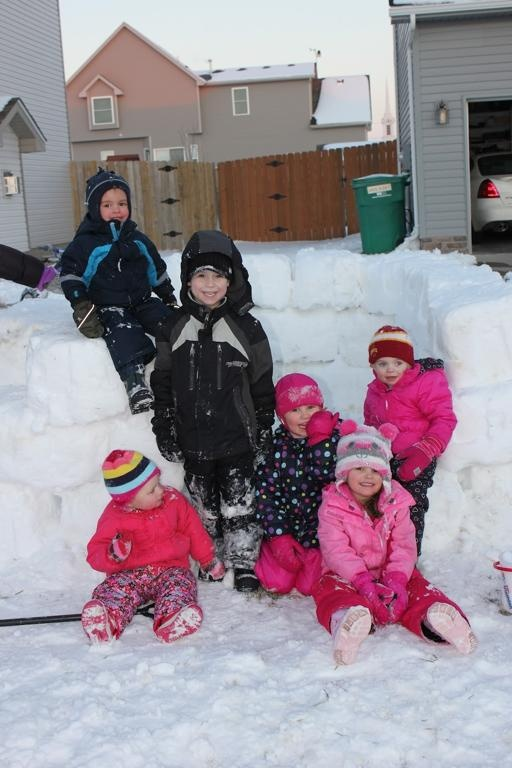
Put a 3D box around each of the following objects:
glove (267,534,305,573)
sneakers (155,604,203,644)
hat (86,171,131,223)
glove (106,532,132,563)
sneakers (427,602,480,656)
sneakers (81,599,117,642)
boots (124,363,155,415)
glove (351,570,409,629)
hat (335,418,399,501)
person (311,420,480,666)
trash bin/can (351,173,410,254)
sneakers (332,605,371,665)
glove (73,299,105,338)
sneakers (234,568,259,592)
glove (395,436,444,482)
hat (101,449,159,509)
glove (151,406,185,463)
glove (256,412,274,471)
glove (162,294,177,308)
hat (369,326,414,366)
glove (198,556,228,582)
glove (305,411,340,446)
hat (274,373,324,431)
[{"bbox_3d":[0.128,0.694,2.674,0.143,0.150,0.140,-2,3,-5],"label":"glove"},{"bbox_3d":[-0.262,0.809,2.207,0.134,0.098,0.043,-27,3,-20],"label":"sneakers"},{"bbox_3d":[-0.776,-0.929,3.201,0.208,0.279,0.256,-7,14,-30],"label":"hat"},{"bbox_3d":[-0.512,0.610,2.504,0.083,0.107,0.084,31,-7,3],"label":"glove"},{"bbox_3d":[0.630,0.743,2.033,0.103,0.078,0.186,-28,20,51],"label":"sneakers"},{"bbox_3d":[-0.541,0.809,2.212,0.107,0.123,0.106,-1,3,20],"label":"sneakers"},{"bbox_3d":[-0.518,0.014,2.858,0.085,0.171,0.234,-19,51,1],"label":"boots"},{"bbox_3d":[0.432,0.714,2.206,0.151,0.072,0.177,-13,45,29],"label":"glove"},{"bbox_3d":[0.436,0.281,2.549,0.239,0.287,0.266,7,8,31],"label":"hat"},{"bbox_3d":[0.429,0.541,2.312,0.460,0.759,0.798,0,-1,-2],"label":"person"},{"bbox_3d":[1.618,-2.204,8.440,0.713,0.943,0.696,-12,17,-19],"label":"trash bin/can"},{"bbox_3d":[0.288,0.760,2.039,0.093,0.195,0.089,14,-4,-23],"label":"sneakers"},{"bbox_3d":[-0.770,-0.292,3.027,0.114,0.183,0.068,-23,-11,21],"label":"glove"},{"bbox_3d":[-0.046,0.795,2.654,0.115,0.071,0.098,-1,3,10],"label":"sneakers"},{"bbox_3d":[0.678,0.308,2.730,0.075,0.125,0.215,-34,11,50],"label":"glove"},{"bbox_3d":[-0.517,0.352,2.655,0.234,0.188,0.238,-15,7,-9],"label":"hat"},{"bbox_3d":[-0.377,0.212,2.733,0.132,0.223,0.058,-14,-14,-21],"label":"glove"},{"bbox_3d":[0.032,0.229,2.759,0.057,0.172,0.128,8,-6,-7],"label":"glove"},{"bbox_3d":[-0.447,-0.436,3.383,0.073,0.084,0.094,-2,6,0],"label":"glove"},{"bbox_3d":[0.594,-0.171,2.902,0.175,0.172,0.186,0,2,-1],"label":"hat"},{"bbox_3d":[-0.184,0.779,2.756,0.085,0.089,0.107,3,-4,-22],"label":"glove"},{"bbox_3d":[0.284,0.187,2.764,0.129,0.064,0.148,-10,38,34],"label":"glove"},{"bbox_3d":[0.178,0.052,2.887,0.201,0.211,0.242,-6,-8,-10],"label":"hat"}]
